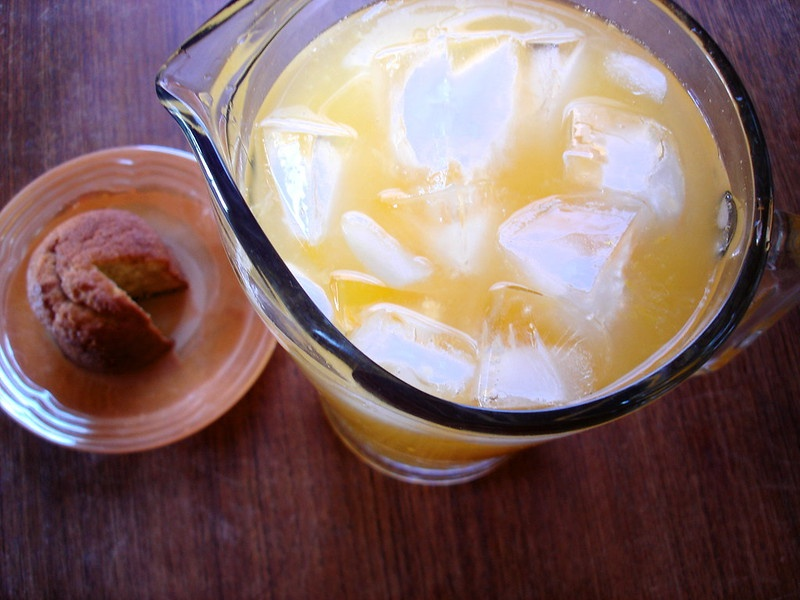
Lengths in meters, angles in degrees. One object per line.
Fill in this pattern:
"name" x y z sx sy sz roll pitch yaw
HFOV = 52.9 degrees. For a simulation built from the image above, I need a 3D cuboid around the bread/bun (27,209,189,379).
"bread/bun" -0.456 -0.005 1.257 0.227 0.097 0.279 17 27 -13
